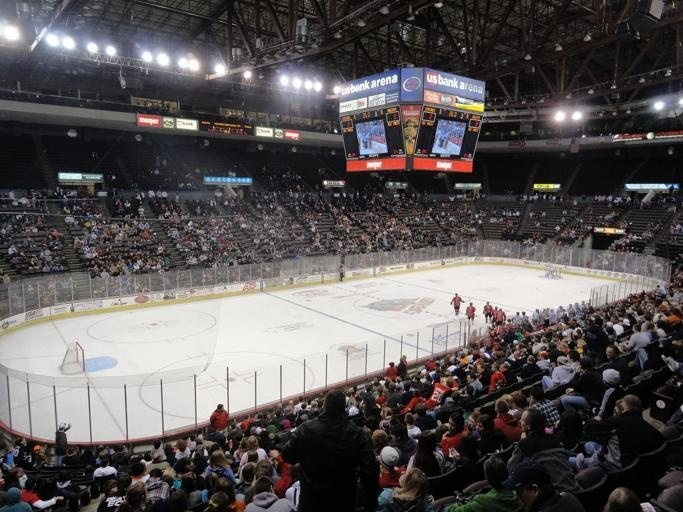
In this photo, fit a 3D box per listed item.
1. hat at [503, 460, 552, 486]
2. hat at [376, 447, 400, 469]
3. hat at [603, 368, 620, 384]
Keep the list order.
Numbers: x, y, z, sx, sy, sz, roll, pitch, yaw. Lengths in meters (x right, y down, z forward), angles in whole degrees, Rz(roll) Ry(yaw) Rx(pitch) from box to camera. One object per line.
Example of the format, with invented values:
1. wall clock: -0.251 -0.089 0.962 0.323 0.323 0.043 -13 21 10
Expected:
1. hat: 3.863 4.474 11.320 0.792 0.372 0.536 -1 -7 9
2. hat: 1.082 4.552 12.431 0.427 0.433 0.470 -2 1 1
3. hat: 7.312 3.217 14.905 0.354 0.354 0.459 -5 19 11
